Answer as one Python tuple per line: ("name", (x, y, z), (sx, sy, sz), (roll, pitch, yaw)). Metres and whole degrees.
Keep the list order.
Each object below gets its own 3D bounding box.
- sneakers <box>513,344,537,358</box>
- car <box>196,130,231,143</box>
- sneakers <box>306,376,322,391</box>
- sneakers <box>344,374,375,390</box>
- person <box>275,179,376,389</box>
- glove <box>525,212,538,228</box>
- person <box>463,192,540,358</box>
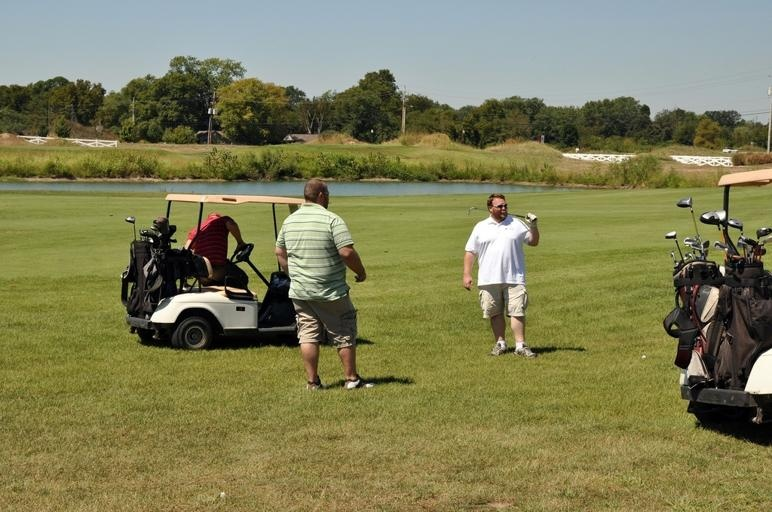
("sneakers", (1.787, 1.225, 12.539), (0.121, 0.127, 0.295), (-1, 4, -37))
("car", (-19.961, -13.560, 110.283), (3.411, 1.759, 5.470), (-2, 3, -13))
("sneakers", (-0.858, 1.501, 11.415), (0.083, 0.111, 0.247), (6, 11, 15))
("sneakers", (-0.303, 1.498, 11.513), (0.392, 0.165, 0.141), (0, 3, -17))
("person", (-0.739, 0.335, 11.359), (1.047, 2.465, 0.529), (-2, 3, -2))
("glove", (1.864, -0.447, 12.469), (0.134, 0.179, 0.358), (-1, 3, 6))
("person", (1.486, 0.244, 12.653), (0.970, 2.090, 0.568), (-1, 3, 6))
